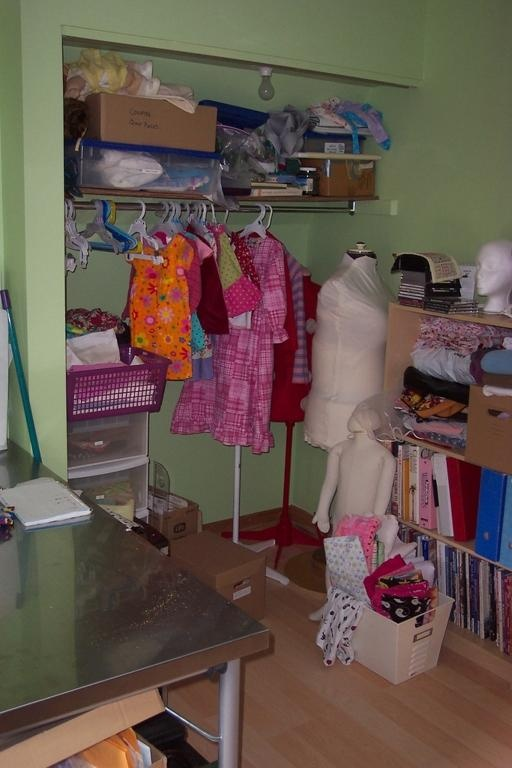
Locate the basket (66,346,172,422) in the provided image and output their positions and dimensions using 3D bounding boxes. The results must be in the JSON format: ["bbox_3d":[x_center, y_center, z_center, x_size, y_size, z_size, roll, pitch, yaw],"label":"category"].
[{"bbox_3d":[-0.517,0.002,2.203,0.322,0.152,0.213,-8,13,-34],"label":"basket"}]

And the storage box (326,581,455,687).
[{"bbox_3d":[0.485,0.959,2.281,0.291,0.258,0.434,-1,8,-40],"label":"storage box"}]

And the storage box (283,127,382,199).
[{"bbox_3d":[0.383,-1.036,2.806,0.542,0.321,0.224,-5,10,-32],"label":"storage box"}]
